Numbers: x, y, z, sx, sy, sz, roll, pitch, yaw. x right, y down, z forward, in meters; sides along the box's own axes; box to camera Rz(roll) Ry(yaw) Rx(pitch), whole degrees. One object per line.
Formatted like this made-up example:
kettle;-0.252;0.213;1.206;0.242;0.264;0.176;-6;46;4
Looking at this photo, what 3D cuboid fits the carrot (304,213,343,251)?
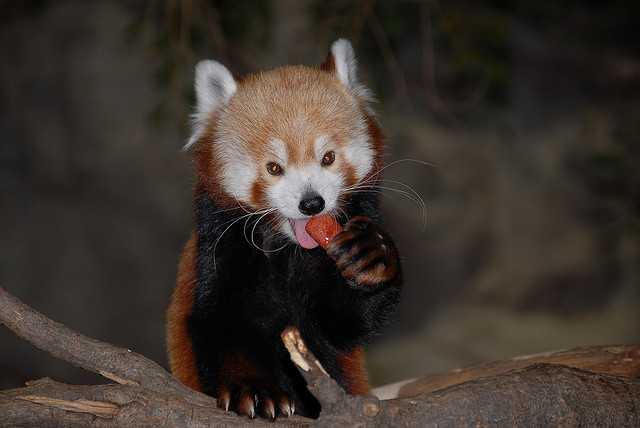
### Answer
carrot;0.020;0.073;3.320;0.148;0.044;0.154;-41;99;-17
